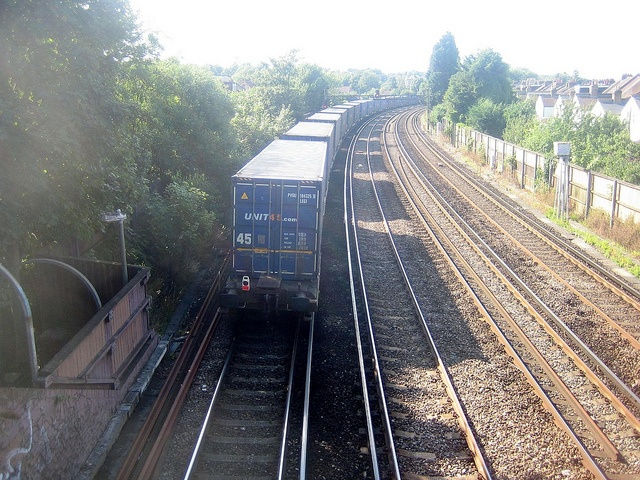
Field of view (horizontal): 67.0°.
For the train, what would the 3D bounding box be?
[{"bbox_3d":[-0.062,-3.453,20.413,1.836,2.579,17.151,5,27,8],"label":"train"}]
